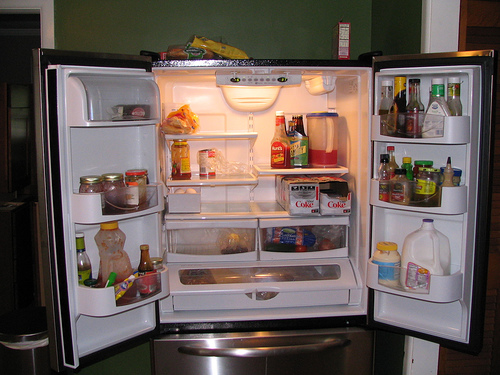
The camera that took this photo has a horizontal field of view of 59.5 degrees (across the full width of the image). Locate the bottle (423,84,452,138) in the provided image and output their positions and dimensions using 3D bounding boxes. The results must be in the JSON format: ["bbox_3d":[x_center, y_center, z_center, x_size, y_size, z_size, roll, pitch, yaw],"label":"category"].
[{"bbox_3d":[0.927,-0.374,2.119,0.192,0.249,0.108,-13,12,-43],"label":"bottle"}]

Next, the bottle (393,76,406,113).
[{"bbox_3d":[0.753,-0.469,2.202,0.065,0.183,0.123,-2,9,20],"label":"bottle"}]

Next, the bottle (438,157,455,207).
[{"bbox_3d":[0.958,-0.029,2.125,0.062,0.223,0.140,1,10,33],"label":"bottle"}]

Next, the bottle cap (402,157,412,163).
[{"bbox_3d":[0.821,-0.143,2.274,0.034,0.019,0.033,-6,10,-34],"label":"bottle cap"}]

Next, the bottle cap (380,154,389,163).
[{"bbox_3d":[0.690,-0.148,2.242,0.041,0.037,0.041,0,14,3],"label":"bottle cap"}]

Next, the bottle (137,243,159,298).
[{"bbox_3d":[-0.511,0.400,2.130,0.102,0.241,0.076,-10,10,-32],"label":"bottle"}]

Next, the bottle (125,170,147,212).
[{"bbox_3d":[-0.565,0.006,2.146,0.079,0.206,0.093,-8,19,-39],"label":"bottle"}]

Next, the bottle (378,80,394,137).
[{"bbox_3d":[0.691,-0.399,2.214,0.071,0.279,0.139,-2,9,18],"label":"bottle"}]

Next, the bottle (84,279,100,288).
[{"bbox_3d":[-0.742,0.448,2.043,0.062,0.045,0.066,-4,9,1],"label":"bottle"}]

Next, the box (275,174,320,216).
[{"bbox_3d":[0.283,0.017,2.601,0.240,0.237,0.279,0,13,1],"label":"box"}]

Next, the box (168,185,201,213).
[{"bbox_3d":[-0.383,0.068,2.555,0.176,0.108,0.172,-1,10,-6],"label":"box"}]

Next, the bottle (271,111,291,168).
[{"bbox_3d":[0.184,-0.281,2.617,0.141,0.344,0.103,4,11,31],"label":"bottle"}]

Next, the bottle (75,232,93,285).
[{"bbox_3d":[-0.806,0.329,2.111,0.057,0.246,0.202,-6,9,-11],"label":"bottle"}]

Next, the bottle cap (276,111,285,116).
[{"bbox_3d":[0.176,-0.435,2.573,0.045,0.024,0.044,0,9,-1],"label":"bottle cap"}]

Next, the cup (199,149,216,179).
[{"bbox_3d":[-0.250,-0.126,2.615,0.113,0.162,0.116,0,-17,0],"label":"cup"}]

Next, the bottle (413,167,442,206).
[{"bbox_3d":[0.871,-0.003,2.157,0.124,0.180,0.094,-1,9,23],"label":"bottle"}]

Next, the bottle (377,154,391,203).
[{"bbox_3d":[0.694,-0.053,2.255,0.060,0.237,0.109,-2,9,16],"label":"bottle"}]
